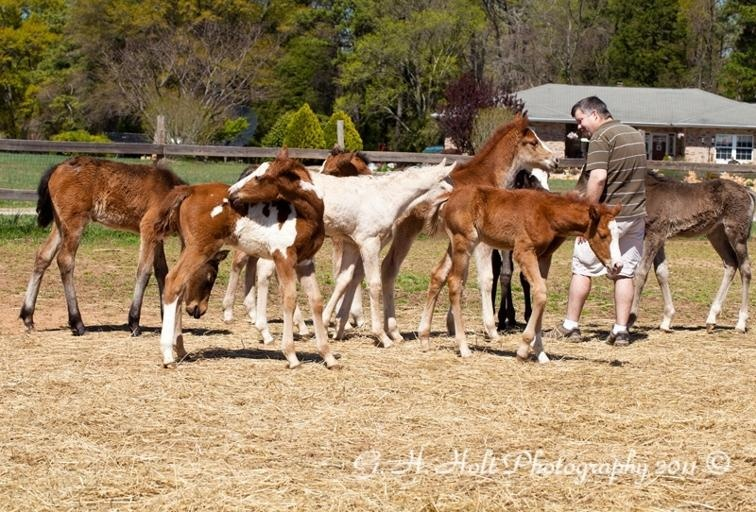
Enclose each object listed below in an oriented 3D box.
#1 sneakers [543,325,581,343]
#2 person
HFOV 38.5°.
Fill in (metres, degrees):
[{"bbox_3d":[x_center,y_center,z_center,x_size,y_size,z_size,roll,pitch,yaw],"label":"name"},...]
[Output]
[{"bbox_3d":[3.016,1.222,17.417,0.648,0.272,0.237,4,3,31],"label":"sneakers"},{"bbox_3d":[3.608,-0.574,17.097,1.306,3.914,0.997,0,3,9],"label":"person"}]
